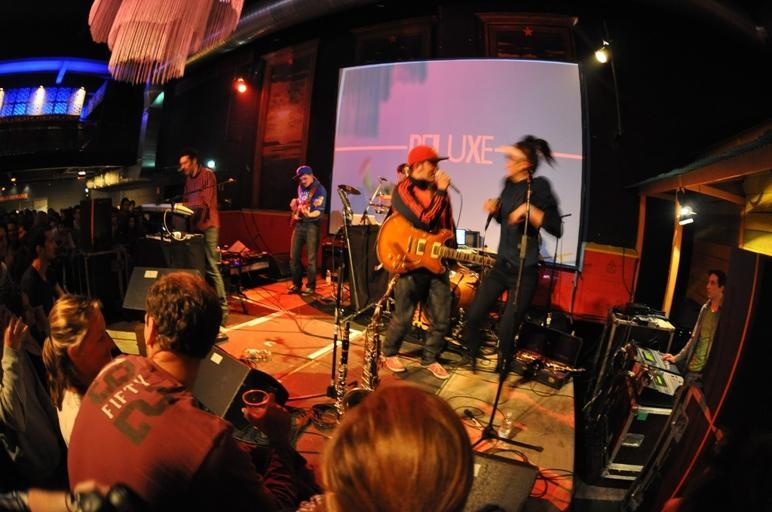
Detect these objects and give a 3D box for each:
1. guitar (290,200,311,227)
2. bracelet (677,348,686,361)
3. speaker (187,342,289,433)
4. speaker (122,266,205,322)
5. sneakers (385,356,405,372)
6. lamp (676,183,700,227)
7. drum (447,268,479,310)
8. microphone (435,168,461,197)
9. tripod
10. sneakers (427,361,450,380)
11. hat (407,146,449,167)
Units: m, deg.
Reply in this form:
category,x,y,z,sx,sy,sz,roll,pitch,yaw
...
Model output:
category,x,y,z,sx,sy,sz,roll,pitch,yaw
guitar,-1.387,-0.699,8.062,0.171,0.384,0.530,-3,10,-39
bracelet,3.109,1.037,5.299,0.029,0.075,0.120,6,-44,-43
speaker,-1.339,1.249,4.832,0.915,0.605,0.704,9,-28,46
speaker,-2.622,0.320,5.484,0.861,0.632,0.203,1,-24,-9
sneakers,0.102,1.208,5.623,0.127,0.115,0.260,7,-11,-31
lamp,3.795,-0.607,6.423,0.233,0.443,0.192,-5,-8,11
drum,0.986,0.382,6.406,0.442,0.487,0.477,3,-27,18
microphone,0.671,-0.850,5.683,0.220,0.230,0.930,4,8,8
tripod,1.266,0.689,4.836,0.541,2.125,0.936,5,8,18
sneakers,0.580,1.271,5.618,0.142,0.090,0.244,2,0,-32
hat,0.465,-1.087,5.493,0.431,0.220,0.285,-3,8,-6
